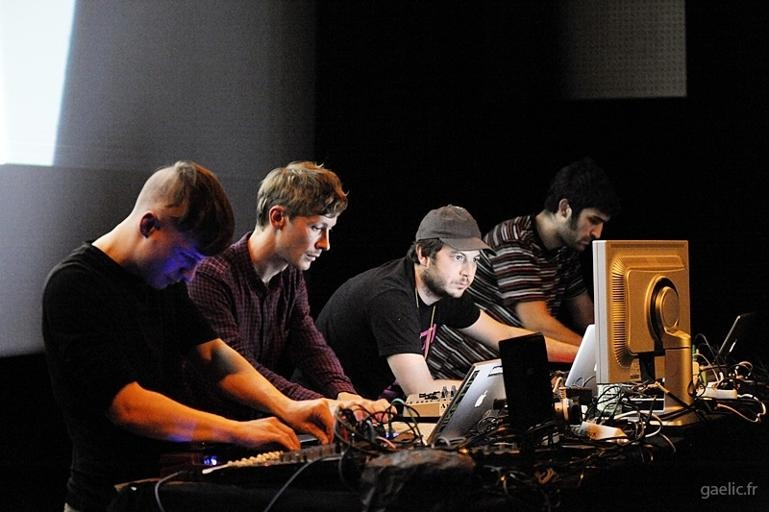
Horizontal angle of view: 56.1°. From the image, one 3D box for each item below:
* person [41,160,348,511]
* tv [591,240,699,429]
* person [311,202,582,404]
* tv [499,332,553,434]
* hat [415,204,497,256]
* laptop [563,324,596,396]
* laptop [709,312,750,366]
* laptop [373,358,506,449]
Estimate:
[{"bbox_3d":[-0.782,0.272,2.714,0.889,1.229,0.441,-3,10,-5],"label":"person"},{"bbox_3d":[1.121,0.280,3.045,0.590,0.717,0.198,-7,11,-27],"label":"tv"},{"bbox_3d":[0.355,0.245,3.807,1.207,0.833,0.937,-3,1,22],"label":"person"},{"bbox_3d":[0.536,0.454,2.651,0.116,0.334,0.253,6,13,39],"label":"tv"},{"bbox_3d":[0.378,-0.150,3.850,0.317,0.250,0.445,3,5,-42],"label":"hat"},{"bbox_3d":[0.863,0.450,3.143,0.134,0.360,0.217,1,10,15],"label":"laptop"},{"bbox_3d":[1.967,0.472,4.076,0.182,0.181,0.259,24,14,30],"label":"laptop"},{"bbox_3d":[0.214,0.526,2.820,0.483,0.336,0.569,10,0,23],"label":"laptop"}]
